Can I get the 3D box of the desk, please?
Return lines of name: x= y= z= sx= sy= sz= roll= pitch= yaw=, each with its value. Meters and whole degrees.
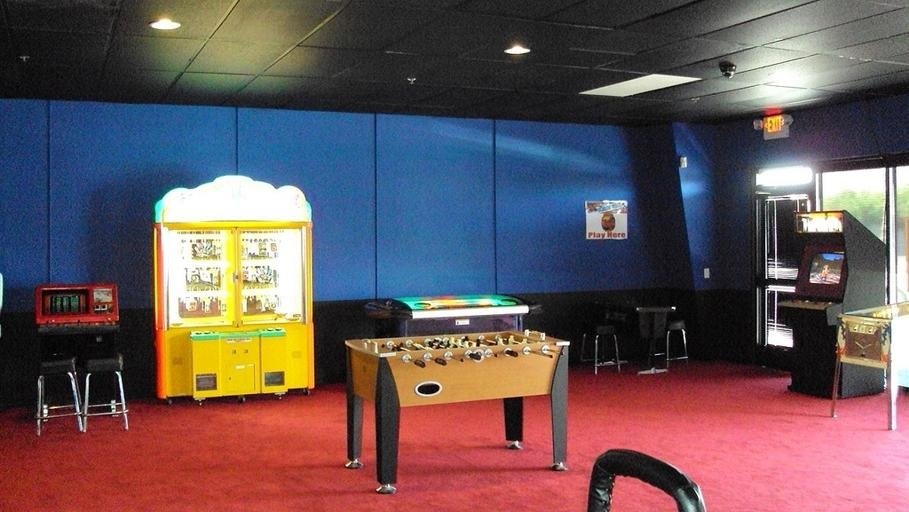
desk: x=3.349 y=1.456 z=11.438 sx=1.739 sy=1.174 sz=1.112 roll=-1 pitch=9 yaw=-4

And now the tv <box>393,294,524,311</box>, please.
tv: x=0.054 y=0.760 z=10.195 sx=2.153 sy=0.123 sz=0.697 roll=-3 pitch=9 yaw=-17

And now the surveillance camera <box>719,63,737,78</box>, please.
surveillance camera: x=3.662 y=-2.468 z=8.312 sx=0.169 sy=0.145 sz=0.161 roll=-1 pitch=3 yaw=25

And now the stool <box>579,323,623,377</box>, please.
stool: x=2.778 y=1.686 z=11.577 sx=0.758 sy=0.833 sz=0.686 roll=14 pitch=-13 yaw=20

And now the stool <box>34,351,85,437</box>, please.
stool: x=-5.523 y=1.915 z=8.733 sx=0.720 sy=0.849 sz=0.676 roll=-3 pitch=0 yaw=-17
